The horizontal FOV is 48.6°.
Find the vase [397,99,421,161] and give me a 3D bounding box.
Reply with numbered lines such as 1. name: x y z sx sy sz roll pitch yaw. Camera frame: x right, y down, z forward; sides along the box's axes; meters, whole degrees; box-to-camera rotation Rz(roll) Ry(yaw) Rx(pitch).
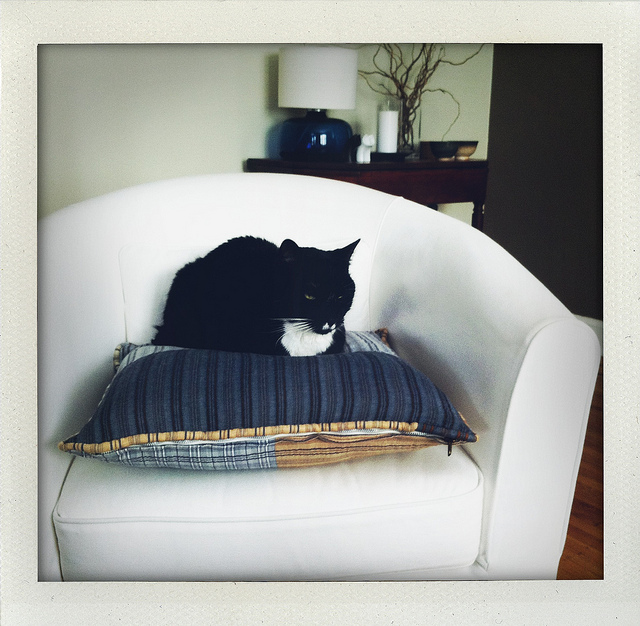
1. vase: 0.224 -0.455 1.771 0.058 0.139 0.101 4 11 8

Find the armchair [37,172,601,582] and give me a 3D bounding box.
1. armchair: -0.046 0.046 1.506 0.950 0.715 0.851 0 50 -2

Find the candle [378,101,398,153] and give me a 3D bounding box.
1. candle: 0.169 -0.458 1.760 0.051 0.115 0.048 2 11 -2

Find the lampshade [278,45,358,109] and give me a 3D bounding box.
1. lampshade: 0.000 -0.507 1.593 0.109 0.157 0.113 -1 9 -7

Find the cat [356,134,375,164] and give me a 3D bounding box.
1. cat: 0.111 -0.413 1.770 0.043 0.070 0.028 27 41 35

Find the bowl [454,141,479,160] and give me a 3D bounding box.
1. bowl: 0.352 -0.397 1.704 0.038 0.033 0.042 -6 23 -16

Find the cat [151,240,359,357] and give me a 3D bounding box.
1. cat: -0.112 -0.034 1.507 0.326 0.177 0.242 -4 36 1

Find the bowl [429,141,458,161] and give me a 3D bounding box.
1. bowl: 0.306 -0.405 1.761 0.050 0.041 0.051 2 29 -1
